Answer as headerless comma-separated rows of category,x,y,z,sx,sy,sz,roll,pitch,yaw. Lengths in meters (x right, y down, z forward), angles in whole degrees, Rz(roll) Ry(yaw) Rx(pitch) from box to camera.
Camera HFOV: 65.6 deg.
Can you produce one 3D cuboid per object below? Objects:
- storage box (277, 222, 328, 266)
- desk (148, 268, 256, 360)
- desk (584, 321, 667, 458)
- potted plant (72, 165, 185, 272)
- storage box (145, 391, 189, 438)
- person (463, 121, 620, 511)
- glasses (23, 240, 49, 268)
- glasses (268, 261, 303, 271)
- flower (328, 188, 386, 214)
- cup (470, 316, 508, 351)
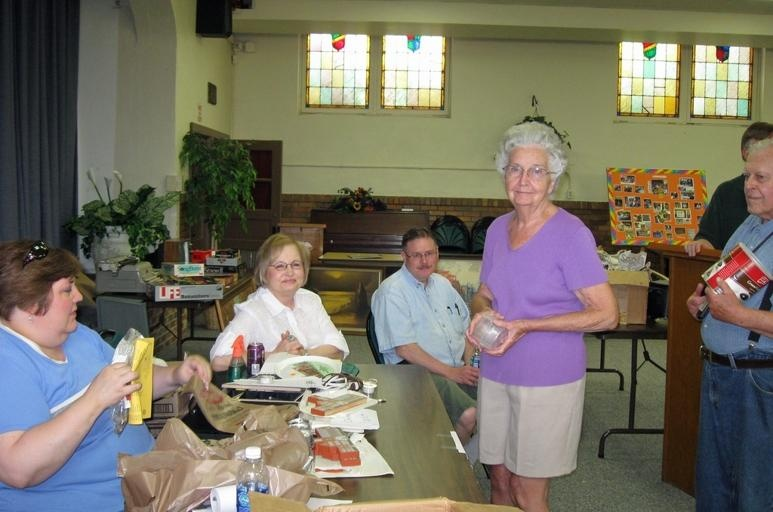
storage box,-0.998,-0.254,7.367,0.752,0.741,0.563,-1,-1,2
desk,-1.945,0.544,6.297,1.100,0.829,1.664,-17,0,-24
desk,2.112,1.218,5.284,0.610,0.563,1.146,-2,11,1
potted plant,-2.628,-0.319,5.688,0.741,0.840,0.878,20,24,29
storage box,-1.042,0.733,2.844,0.221,0.135,0.221,-4,-6,0
person,0.788,0.344,3.085,0.722,2.036,0.480,4,7,7
glasses,-1.449,-0.010,2.487,0.062,0.036,0.109,36,42,-5
glasses,-0.603,0.060,3.594,0.193,0.051,0.039,1,8,-12
flower,-0.457,-0.860,9.220,0.807,0.360,0.902,1,8,-14
cup,0.497,0.376,2.959,0.167,0.167,0.161,19,-25,9
